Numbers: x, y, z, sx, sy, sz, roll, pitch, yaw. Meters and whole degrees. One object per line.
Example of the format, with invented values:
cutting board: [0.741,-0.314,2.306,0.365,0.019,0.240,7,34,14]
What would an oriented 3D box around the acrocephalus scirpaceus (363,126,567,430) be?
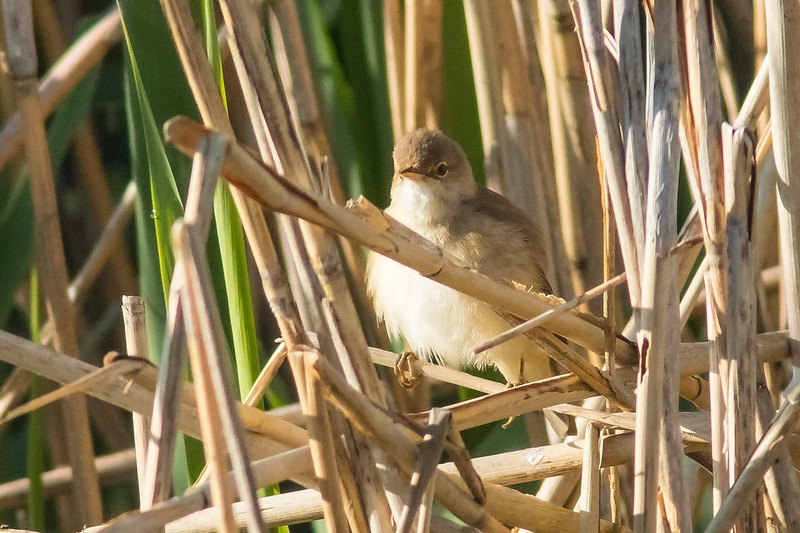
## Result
acrocephalus scirpaceus: [0.256,-0.069,4.744,0.587,1.120,1.069,3,22,22]
